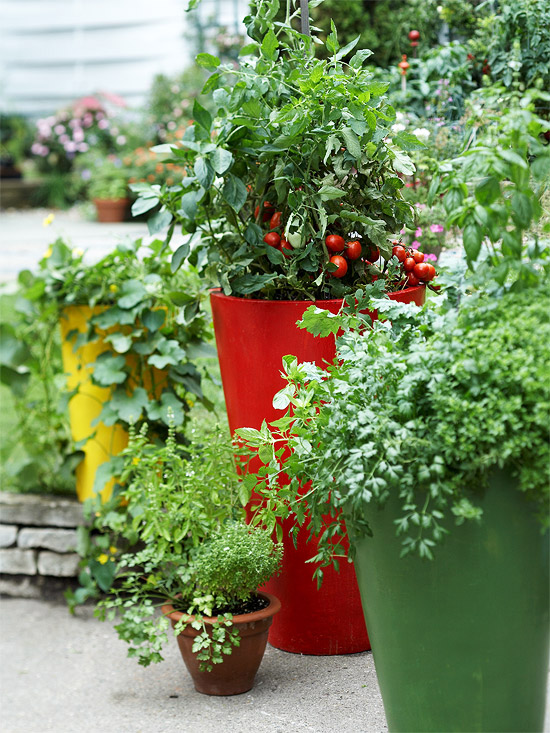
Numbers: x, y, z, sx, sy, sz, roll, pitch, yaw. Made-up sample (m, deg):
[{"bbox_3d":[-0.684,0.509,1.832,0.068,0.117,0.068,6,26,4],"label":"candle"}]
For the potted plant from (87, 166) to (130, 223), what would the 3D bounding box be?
[{"bbox_3d":[-1.821,-1.904,8.426,0.508,0.599,0.479,-3,16,-12],"label":"potted plant"}]
